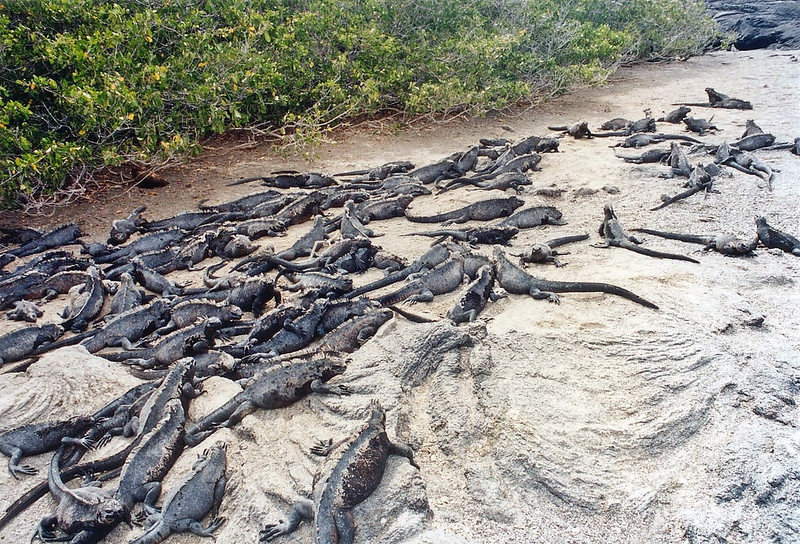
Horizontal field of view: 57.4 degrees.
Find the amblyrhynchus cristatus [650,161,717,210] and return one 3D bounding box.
[{"bbox_3d":[4.580,-1.415,12.035,1.803,0.662,0.540,-10,-5,-44],"label":"amblyrhynchus cristatus"}]

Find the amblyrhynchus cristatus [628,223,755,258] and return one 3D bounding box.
[{"bbox_3d":[4.287,-0.482,10.560,1.504,0.257,0.366,17,41,31],"label":"amblyrhynchus cristatus"}]

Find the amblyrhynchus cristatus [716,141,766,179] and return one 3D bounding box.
[{"bbox_3d":[6.001,-1.940,12.888,0.574,0.297,0.753,-36,37,-8],"label":"amblyrhynchus cristatus"}]

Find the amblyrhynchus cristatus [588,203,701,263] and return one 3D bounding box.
[{"bbox_3d":[3.433,-0.480,10.579,0.625,0.525,1.592,-35,30,-17],"label":"amblyrhynchus cristatus"}]

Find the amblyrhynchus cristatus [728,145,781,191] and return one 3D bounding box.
[{"bbox_3d":[6.143,-1.827,12.723,0.462,0.182,1.031,-24,24,16],"label":"amblyrhynchus cristatus"}]

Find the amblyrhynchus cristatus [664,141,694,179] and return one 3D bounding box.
[{"bbox_3d":[4.981,-1.975,13.118,0.576,0.265,0.710,14,51,-1],"label":"amblyrhynchus cristatus"}]

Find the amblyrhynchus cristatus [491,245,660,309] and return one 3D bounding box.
[{"bbox_3d":[2.188,0.140,9.559,0.688,0.421,2.368,-31,22,-23],"label":"amblyrhynchus cristatus"}]
